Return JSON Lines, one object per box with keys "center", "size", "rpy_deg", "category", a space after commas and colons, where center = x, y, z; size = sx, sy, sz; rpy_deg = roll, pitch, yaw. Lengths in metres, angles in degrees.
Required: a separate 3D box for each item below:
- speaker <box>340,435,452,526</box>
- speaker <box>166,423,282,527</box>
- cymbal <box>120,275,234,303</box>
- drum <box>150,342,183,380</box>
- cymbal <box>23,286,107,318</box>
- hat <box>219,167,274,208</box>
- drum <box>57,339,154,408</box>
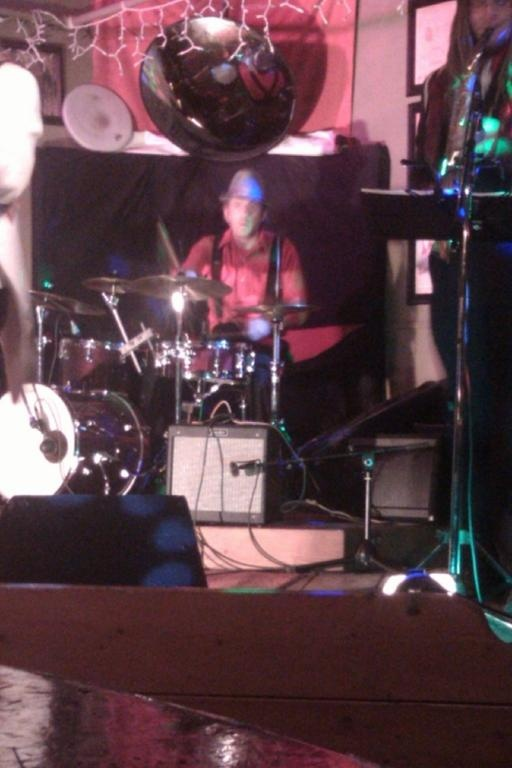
{"center": [0.408, 0.299, 2.714], "size": [0.306, 0.262, 0.159], "rpy_deg": [3, -1, -19], "category": "speaker"}
{"center": [-0.160, 0.305, 2.846], "size": [0.364, 0.300, 0.196], "rpy_deg": [5, -10, -26], "category": "speaker"}
{"center": [-0.320, -0.413, 3.571], "size": [0.430, 0.131, 0.393], "rpy_deg": [-1, 11, -12], "category": "cymbal"}
{"center": [-0.364, -0.094, 3.467], "size": [0.128, 0.182, 0.416], "rpy_deg": [-1, 11, -7], "category": "drum"}
{"center": [-0.912, -0.389, 3.959], "size": [0.217, 0.057, 0.223], "rpy_deg": [10, -9, 13], "category": "cymbal"}
{"center": [-0.066, -1.013, 4.304], "size": [0.231, 0.178, 0.123], "rpy_deg": [1, 11, 1], "category": "hat"}
{"center": [-0.691, -0.096, 3.666], "size": [0.481, 0.259, 0.317], "rpy_deg": [7, 11, -25], "category": "drum"}
